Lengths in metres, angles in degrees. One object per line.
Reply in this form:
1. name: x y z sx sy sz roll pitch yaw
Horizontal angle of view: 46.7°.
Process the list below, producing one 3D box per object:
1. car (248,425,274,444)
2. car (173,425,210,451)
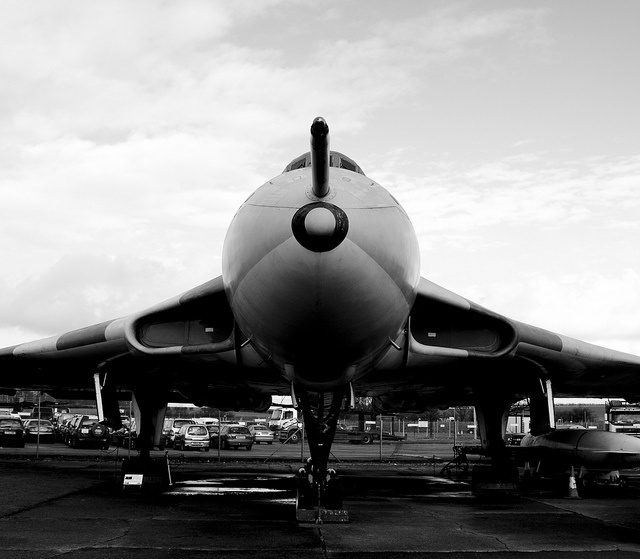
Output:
1. car: -3.244 8.605 41.802 1.226 0.925 2.818 0 -2 -7
2. car: -5.401 6.726 31.588 0.928 0.781 1.597 2 -2 -12
